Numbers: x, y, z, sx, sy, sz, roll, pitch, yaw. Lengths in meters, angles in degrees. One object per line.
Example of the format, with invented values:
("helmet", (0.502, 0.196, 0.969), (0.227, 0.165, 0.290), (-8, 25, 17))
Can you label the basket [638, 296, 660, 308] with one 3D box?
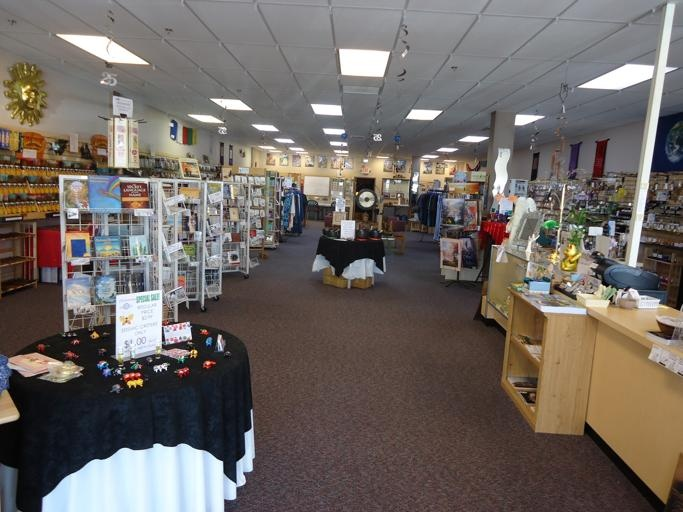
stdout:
("basket", (2.608, 0.390, 3.915), (0.096, 0.049, 0.148), (-1, 0, 13))

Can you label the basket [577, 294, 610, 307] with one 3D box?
("basket", (2.190, 0.386, 3.961), (0.270, 0.071, 0.159), (5, 15, 10))

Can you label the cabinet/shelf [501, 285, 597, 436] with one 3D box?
("cabinet/shelf", (1.883, 0.961, 4.141), (0.462, 1.102, 1.148), (2, 5, 3))

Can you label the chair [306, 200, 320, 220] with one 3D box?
("chair", (-1.392, -2.195, 21.953), (0.787, 1.093, 0.776), (0, 4, -4))

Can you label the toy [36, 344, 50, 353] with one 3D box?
("toy", (-2.044, 0.617, 3.118), (0.048, 0.017, 0.049), (3, 49, -46))

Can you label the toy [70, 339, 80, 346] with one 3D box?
("toy", (-1.867, 0.595, 3.222), (0.038, 0.017, 0.036), (-4, 22, -40))

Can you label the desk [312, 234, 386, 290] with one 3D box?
("desk", (0.170, 0.039, 8.194), (0.973, 0.635, 0.972), (0, 7, -26))
